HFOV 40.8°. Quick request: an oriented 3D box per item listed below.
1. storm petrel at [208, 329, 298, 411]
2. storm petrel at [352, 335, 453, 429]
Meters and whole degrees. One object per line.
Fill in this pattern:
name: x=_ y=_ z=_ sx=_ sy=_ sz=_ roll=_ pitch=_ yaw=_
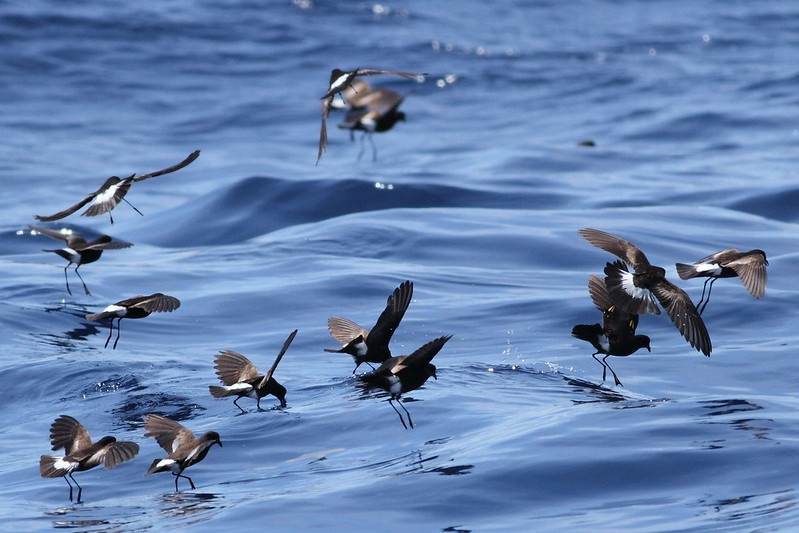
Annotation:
storm petrel: x=-2.383 y=1.865 z=17.104 sx=1.174 sy=1.285 sz=0.744 roll=1 pitch=43 yaw=-5
storm petrel: x=0.030 y=1.891 z=16.938 sx=1.528 sy=1.769 sz=0.751 roll=19 pitch=71 yaw=-8
